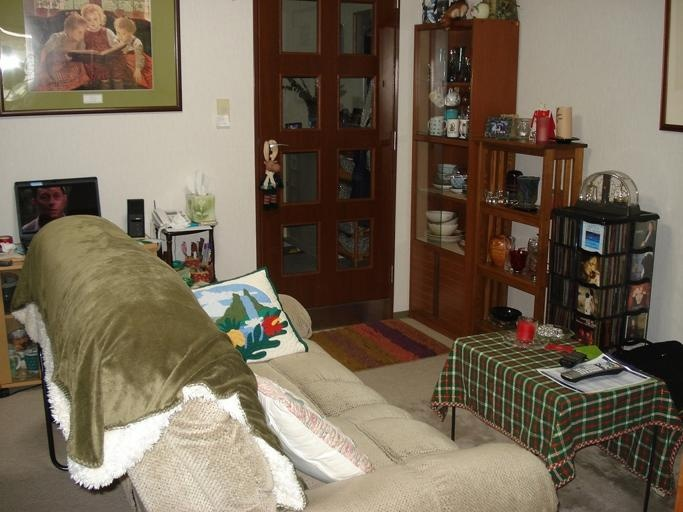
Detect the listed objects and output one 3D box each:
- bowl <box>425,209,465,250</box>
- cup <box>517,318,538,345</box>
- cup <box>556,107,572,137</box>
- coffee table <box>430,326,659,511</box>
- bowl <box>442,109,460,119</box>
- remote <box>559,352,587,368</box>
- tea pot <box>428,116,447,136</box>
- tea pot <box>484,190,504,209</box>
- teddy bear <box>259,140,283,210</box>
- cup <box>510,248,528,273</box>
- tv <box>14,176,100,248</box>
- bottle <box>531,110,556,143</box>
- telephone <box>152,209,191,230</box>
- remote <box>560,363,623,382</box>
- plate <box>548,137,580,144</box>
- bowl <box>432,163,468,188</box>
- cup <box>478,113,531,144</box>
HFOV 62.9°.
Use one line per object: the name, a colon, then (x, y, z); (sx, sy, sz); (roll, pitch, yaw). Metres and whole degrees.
bowl: (0.887, -0.230, 4.779); (0.299, 0.175, 0.314); (0, 10, 0)
cup: (0.971, 0.394, 2.934); (0.106, 0.133, 0.112); (1, 4, 0)
cup: (1.485, -0.879, 3.712); (0.090, 0.202, 0.073); (0, 11, 11)
coffee table: (1.088, 0.666, 2.716); (0.705, 0.484, 0.874); (-8, 18, -26)
bowl: (0.882, -1.138, 4.468); (0.128, 0.091, 0.039); (6, 14, 36)
remote: (1.122, 0.487, 2.707); (0.117, 0.041, 0.064); (-12, 17, -41)
tea pot: (0.794, -1.068, 4.613); (0.160, 0.169, 0.104); (5, 14, 20)
tea pot: (1.146, -0.422, 4.173); (0.120, 0.101, 0.127); (0, 3, 0)
teddy bear: (-0.564, -0.656, 4.511); (0.197, 0.549, 0.135); (-5, 11, -11)
cup: (1.284, 0.041, 4.053); (0.140, 0.174, 0.146); (1, 2, 0)
tv: (-2.002, -0.356, 3.971); (0.573, 0.479, 0.473); (-4, 12, -21)
bottle: (1.379, -0.877, 3.780); (0.154, 0.219, 0.137); (0, 12, 12)
telephone: (-1.280, -0.306, 4.136); (0.172, 0.088, 0.225); (-7, 14, -32)
remote: (1.186, 0.543, 2.645); (0.338, 0.035, 0.100); (-7, 12, -18)
plate: (1.526, -0.781, 3.770); (0.243, 0.043, 0.123); (-11, 14, -32)
bowl: (0.908, -0.662, 4.634); (0.184, 0.163, 0.232); (1, 1, 20)
cup: (1.205, -0.886, 4.038); (0.240, 0.164, 0.248); (1, 10, 0)
